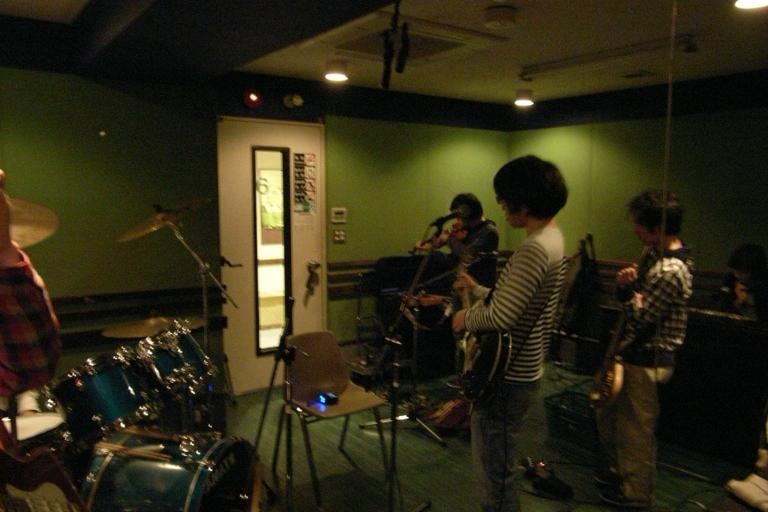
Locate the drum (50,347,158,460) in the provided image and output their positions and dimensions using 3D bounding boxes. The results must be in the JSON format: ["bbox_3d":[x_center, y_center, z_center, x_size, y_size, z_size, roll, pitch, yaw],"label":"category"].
[{"bbox_3d":[-1.428,0.760,3.060,0.453,0.342,0.458,-25,-5,-2],"label":"drum"}]

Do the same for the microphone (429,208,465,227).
[{"bbox_3d":[0.371,-0.222,3.376,0.129,0.085,0.323,-9,4,-21],"label":"microphone"}]

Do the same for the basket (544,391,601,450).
[{"bbox_3d":[1.450,1.199,4.416,0.368,0.227,0.472,1,9,4],"label":"basket"}]

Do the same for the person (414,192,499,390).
[{"bbox_3d":[0.431,0.193,4.139,0.339,1.241,0.642,-6,19,-32],"label":"person"}]

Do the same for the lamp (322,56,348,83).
[{"bbox_3d":[-0.370,-1.435,4.433,0.160,0.115,0.159,1,-3,18],"label":"lamp"}]

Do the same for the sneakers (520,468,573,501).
[{"bbox_3d":[1.050,1.472,3.727,0.141,0.081,0.251,5,2,-36],"label":"sneakers"}]
